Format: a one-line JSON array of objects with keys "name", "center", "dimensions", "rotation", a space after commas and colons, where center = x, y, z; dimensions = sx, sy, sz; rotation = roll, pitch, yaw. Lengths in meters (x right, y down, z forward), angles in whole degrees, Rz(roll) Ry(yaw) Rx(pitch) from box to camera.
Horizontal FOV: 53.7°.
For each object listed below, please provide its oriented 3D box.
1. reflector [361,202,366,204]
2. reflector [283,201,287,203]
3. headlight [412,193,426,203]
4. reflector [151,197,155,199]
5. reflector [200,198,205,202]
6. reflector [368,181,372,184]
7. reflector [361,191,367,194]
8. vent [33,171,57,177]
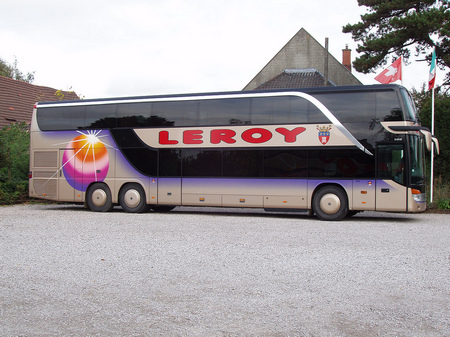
[{"name": "reflector", "center": [4.970, 1.214, 15.874], "dimensions": [0.165, 0.051, 0.010], "rotation": [0, 1, 17]}, {"name": "reflector", "center": [2.257, 1.235, 16.693], "dimensions": [0.148, 0.070, 0.033], "rotation": [1, 1, 29]}, {"name": "headlight", "center": [6.821, 1.030, 15.636], "dimensions": [0.314, 0.173, 0.444], "rotation": [-1, 5, -9]}, {"name": "reflector", "center": [-2.967, 1.193, 18.352], "dimensions": [0.156, 0.074, 0.029], "rotation": [0, 1, 6]}, {"name": "reflector", "center": [-0.899, 1.221, 17.705], "dimensions": [0.116, 0.122, 0.030], "rotation": [1, -9, 9]}, {"name": "reflector", "center": [5.181, 0.484, 15.845], "dimensions": [0.111, 0.119, 0.056], "rotation": [0, -4, 11]}, {"name": "reflector", "center": [4.972, 0.836, 15.882], "dimensions": [0.193, 0.083, 0.033], "rotation": [0, 1, 28]}, {"name": "vent", "center": [-8.032, 0.218, 19.853], "dimensions": [1.202, 0.263, 0.215], "rotation": [0, 1, 25]}]
